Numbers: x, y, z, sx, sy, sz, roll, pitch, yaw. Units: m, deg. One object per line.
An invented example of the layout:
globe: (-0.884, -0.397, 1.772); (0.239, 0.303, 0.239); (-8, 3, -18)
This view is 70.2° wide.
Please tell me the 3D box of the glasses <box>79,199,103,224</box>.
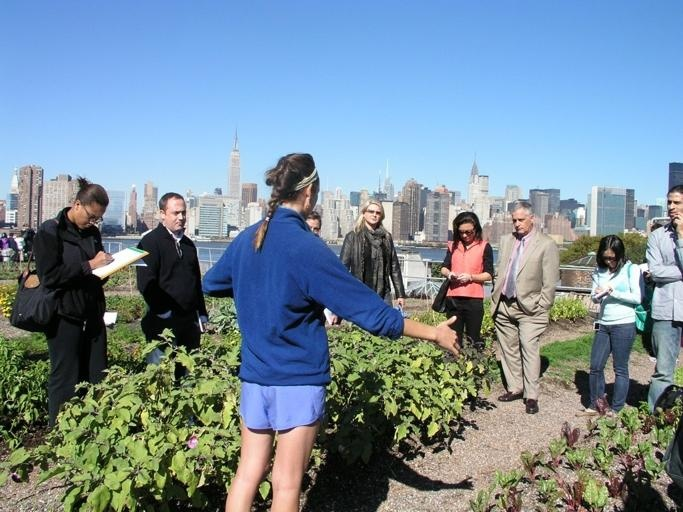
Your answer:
glasses: (-2.361, -0.435, 4.567); (0.194, 0.098, 0.149); (48, 20, 25)

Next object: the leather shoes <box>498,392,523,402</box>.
leather shoes: (2.118, 1.735, 6.110); (0.341, 0.133, 0.131); (2, 0, -13)

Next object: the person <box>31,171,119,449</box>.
person: (-2.441, 0.411, 4.480); (0.611, 2.263, 0.675); (3, 3, 30)

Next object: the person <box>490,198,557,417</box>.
person: (2.218, 0.570, 5.954); (0.755, 2.516, 0.520); (3, 3, 28)

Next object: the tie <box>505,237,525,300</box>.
tie: (2.098, 0.170, 5.985); (0.228, 0.978, 0.100); (7, 44, 13)

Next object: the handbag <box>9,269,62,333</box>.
handbag: (-2.761, 0.394, 4.322); (0.471, 0.544, 0.253); (4, 3, 36)

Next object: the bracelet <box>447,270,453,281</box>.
bracelet: (1.364, 0.239, 6.090); (0.059, 0.090, 0.031); (6, 4, 23)

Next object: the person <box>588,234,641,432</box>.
person: (3.152, 0.800, 5.605); (0.517, 2.086, 0.455); (3, 3, 32)
